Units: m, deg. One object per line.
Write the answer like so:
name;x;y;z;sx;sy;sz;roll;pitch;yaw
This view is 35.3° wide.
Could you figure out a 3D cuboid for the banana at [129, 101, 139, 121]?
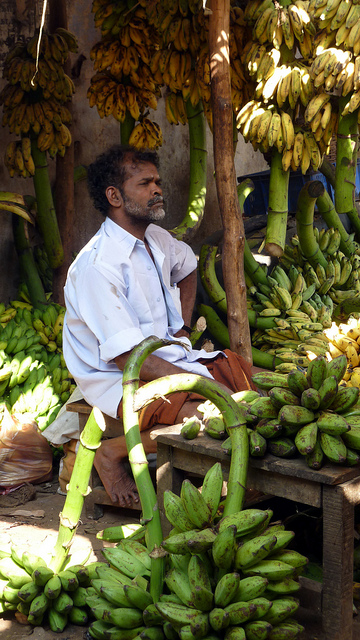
banana;-0.283;-1.323;3.594;0.030;0.119;0.040;-4;-16;0

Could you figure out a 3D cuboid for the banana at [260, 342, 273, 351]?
banana;0.600;0.188;3.928;0.034;0.034;0.101;6;-37;-26

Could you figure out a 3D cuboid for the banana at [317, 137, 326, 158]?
banana;0.765;-0.933;3.059;0.028;0.120;0.039;6;37;12

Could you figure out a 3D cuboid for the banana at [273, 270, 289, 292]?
banana;0.679;-0.273;3.846;0.047;0.160;0.056;-34;-26;14

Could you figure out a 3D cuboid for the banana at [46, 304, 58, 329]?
banana;-0.822;-0.036;3.682;0.046;0.182;0.060;-10;1;26

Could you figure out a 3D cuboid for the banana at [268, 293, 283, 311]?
banana;0.648;-0.128;3.802;0.054;0.149;0.040;-10;31;39

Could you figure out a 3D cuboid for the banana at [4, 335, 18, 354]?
banana;-1.012;0.156;3.408;0.032;0.047;0.123;23;-47;-2

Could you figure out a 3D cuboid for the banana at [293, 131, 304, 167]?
banana;0.604;-0.872;2.884;0.043;0.178;0.044;12;-16;-22

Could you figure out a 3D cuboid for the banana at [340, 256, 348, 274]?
banana;1.178;-0.390;4.039;0.033;0.130;0.045;3;-31;30

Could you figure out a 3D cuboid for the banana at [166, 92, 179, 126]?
banana;-0.048;-1.400;3.772;0.067;0.205;0.046;1;26;14

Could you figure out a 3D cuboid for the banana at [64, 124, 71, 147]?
banana;-0.736;-1.216;3.729;0.033;0.110;0.029;-14;10;7

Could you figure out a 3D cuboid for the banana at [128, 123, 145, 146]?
banana;-0.289;-1.213;3.722;0.108;0.097;0.077;-8;4;-22

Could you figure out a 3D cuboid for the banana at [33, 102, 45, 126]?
banana;-0.905;-1.322;3.630;0.049;0.172;0.054;-21;-22;10

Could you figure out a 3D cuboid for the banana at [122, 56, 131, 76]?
banana;-0.334;-1.559;3.500;0.043;0.130;0.034;3;2;5

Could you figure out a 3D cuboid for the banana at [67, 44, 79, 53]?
banana;-0.739;-1.835;3.843;0.050;0.031;0.012;36;-27;-20

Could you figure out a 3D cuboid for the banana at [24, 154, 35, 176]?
banana;-0.986;-1.006;3.706;0.033;0.131;0.041;-19;3;-19

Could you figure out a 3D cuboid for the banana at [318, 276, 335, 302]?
banana;0.996;-0.226;3.871;0.055;0.199;0.068;36;18;35

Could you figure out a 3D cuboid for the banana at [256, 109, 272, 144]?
banana;0.430;-0.988;2.865;0.048;0.191;0.050;17;-23;-8

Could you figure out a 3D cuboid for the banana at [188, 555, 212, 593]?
banana;0.040;0.538;1.232;0.026;0.059;0.086;-24;27;15

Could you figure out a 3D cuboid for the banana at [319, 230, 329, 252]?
banana;1.030;-0.561;4.079;0.046;0.192;0.066;11;-10;11

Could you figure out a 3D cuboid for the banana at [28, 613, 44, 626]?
banana;-0.409;0.849;1.601;0.021;0.030;0.076;16;-20;-3

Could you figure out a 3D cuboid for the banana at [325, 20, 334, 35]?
banana;0.734;-1.428;2.765;0.015;0.062;0.019;9;-12;38

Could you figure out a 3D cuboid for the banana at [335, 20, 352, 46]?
banana;0.791;-1.374;2.739;0.036;0.144;0.046;18;-18;17

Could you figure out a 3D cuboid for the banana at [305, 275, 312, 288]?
banana;0.897;-0.265;3.959;0.025;0.080;0.021;20;-36;-30

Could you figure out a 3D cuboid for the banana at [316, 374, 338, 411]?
banana;0.354;0.179;1.360;0.052;0.093;0.078;-5;4;14

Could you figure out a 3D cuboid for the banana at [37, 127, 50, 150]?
banana;-0.895;-1.169;3.662;0.045;0.165;0.053;11;-14;33

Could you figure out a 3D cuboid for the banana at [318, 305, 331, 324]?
banana;0.957;-0.034;3.719;0.062;0.113;0.082;-3;5;39

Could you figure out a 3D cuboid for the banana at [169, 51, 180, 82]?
banana;-0.033;-1.507;3.379;0.043;0.180;0.059;-3;-16;16

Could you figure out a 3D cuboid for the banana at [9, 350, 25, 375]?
banana;-0.961;0.255;3.346;0.039;0.053;0.157;8;36;6

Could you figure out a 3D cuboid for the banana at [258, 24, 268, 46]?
banana;0.419;-1.424;2.870;0.016;0.066;0.021;20;-10;5

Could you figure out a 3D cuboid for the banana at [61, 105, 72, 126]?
banana;-0.746;-1.354;3.764;0.026;0.130;0.042;-10;18;40

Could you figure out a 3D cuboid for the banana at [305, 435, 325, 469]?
banana;0.328;0.314;1.340;0.026;0.082;0.054;33;-45;-14

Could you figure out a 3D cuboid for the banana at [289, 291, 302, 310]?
banana;0.779;-0.115;3.757;0.041;0.149;0.056;28;-12;-18

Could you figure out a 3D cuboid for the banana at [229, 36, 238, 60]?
banana;0.316;-1.551;3.285;0.034;0.185;0.061;3;-11;-10

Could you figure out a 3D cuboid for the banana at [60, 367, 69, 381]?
banana;-0.732;0.341;3.573;0.045;0.084;0.026;29;-7;-24

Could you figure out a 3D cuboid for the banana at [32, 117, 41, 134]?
banana;-0.918;-1.241;3.621;0.029;0.112;0.037;-3;-10;-25

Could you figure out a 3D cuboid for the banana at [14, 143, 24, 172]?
banana;-1.059;-1.065;3.735;0.063;0.212;0.047;0;-9;-18

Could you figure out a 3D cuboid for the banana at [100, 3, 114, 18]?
banana;-0.458;-1.913;3.522;0.034;0.133;0.044;29;-8;41

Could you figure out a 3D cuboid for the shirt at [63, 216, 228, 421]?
shirt;-0.084;-0.015;2.691;0.731;0.952;0.747;-15;17;-40

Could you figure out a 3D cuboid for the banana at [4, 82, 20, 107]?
banana;-1.085;-1.464;3.675;0.049;0.200;0.066;16;-18;-14

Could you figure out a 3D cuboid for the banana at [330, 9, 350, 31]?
banana;0.765;-1.423;2.721;0.115;0.031;0.037;-51;-4;41

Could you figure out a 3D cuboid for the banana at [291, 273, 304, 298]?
banana;0.793;-0.235;3.800;0.052;0.188;0.064;12;-20;-11

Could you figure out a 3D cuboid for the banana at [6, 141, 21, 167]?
banana;-1.112;-1.109;3.764;0.074;0.134;0.033;12;4;-33

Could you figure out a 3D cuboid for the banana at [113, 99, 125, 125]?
banana;-0.397;-1.323;3.645;0.039;0.187;0.046;-22;-30;29

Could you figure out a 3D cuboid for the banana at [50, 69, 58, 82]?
banana;-0.800;-1.547;3.583;0.034;0.057;0.013;-18;10;-30

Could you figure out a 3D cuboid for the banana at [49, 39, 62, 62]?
banana;-0.798;-1.707;3.633;0.043;0.173;0.053;-9;0;-3

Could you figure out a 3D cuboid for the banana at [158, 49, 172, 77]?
banana;-0.089;-1.532;3.392;0.043;0.174;0.056;10;-17;15

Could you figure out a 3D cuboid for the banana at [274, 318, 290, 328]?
banana;0.667;0.022;3.690;0.137;0.083;0.046;0;-11;30

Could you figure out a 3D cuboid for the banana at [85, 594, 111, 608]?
banana;-0.230;0.756;1.533;0.097;0.034;0.034;-9;-23;28

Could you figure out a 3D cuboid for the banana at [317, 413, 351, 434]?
banana;0.354;0.239;1.299;0.065;0.037;0.024;1;-10;44

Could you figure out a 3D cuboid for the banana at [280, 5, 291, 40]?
banana;0.514;-1.461;2.780;0.039;0.164;0.050;-9;0;-25

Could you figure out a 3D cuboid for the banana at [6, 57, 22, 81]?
banana;-1.048;-1.581;3.578;0.047;0.199;0.066;15;-25;9

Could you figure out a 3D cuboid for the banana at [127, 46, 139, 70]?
banana;-0.292;-1.620;3.493;0.056;0.166;0.047;15;-30;-29

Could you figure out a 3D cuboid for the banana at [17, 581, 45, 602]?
banana;-0.417;0.760;1.586;0.029;0.040;0.107;11;-9;7

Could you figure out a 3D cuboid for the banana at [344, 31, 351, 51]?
banana;0.813;-1.339;2.745;0.015;0.060;0.019;19;18;22
